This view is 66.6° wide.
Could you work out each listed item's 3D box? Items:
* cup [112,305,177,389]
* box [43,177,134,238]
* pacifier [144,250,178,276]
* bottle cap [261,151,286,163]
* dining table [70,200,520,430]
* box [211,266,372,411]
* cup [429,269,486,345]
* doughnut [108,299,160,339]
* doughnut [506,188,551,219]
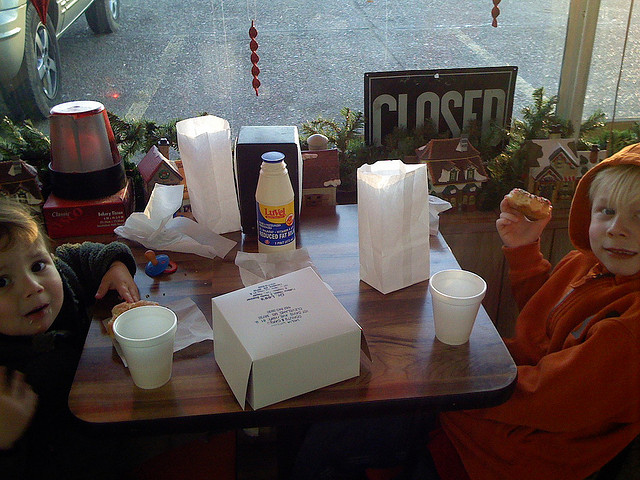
[{"bbox_3d":[-0.336,0.212,0.965,0.113,0.142,0.100,-16,28,-24],"label":"cup"},{"bbox_3d":[-0.736,-0.112,1.547,0.183,0.086,0.182,-2,30,-9],"label":"box"},{"bbox_3d":[-0.423,0.064,1.281,0.058,0.029,0.080,-27,41,-31],"label":"pacifier"},{"bbox_3d":[-0.124,-0.214,1.244,0.049,0.018,0.075,-9,27,-12],"label":"bottle cap"},{"bbox_3d":[-0.082,0.134,1.139,0.932,0.181,0.556,-5,26,-3],"label":"dining table"},{"bbox_3d":[-0.082,0.193,1.011,0.276,0.148,0.226,-13,27,-18],"label":"box"},{"bbox_3d":[0.269,0.133,1.092,0.147,0.159,0.149,-1,20,0],"label":"cup"},{"bbox_3d":[-0.431,0.157,1.096,0.085,0.038,0.116,2,16,2],"label":"doughnut"},{"bbox_3d":[0.581,-0.093,1.351,0.127,0.057,0.105,15,6,9],"label":"doughnut"}]
